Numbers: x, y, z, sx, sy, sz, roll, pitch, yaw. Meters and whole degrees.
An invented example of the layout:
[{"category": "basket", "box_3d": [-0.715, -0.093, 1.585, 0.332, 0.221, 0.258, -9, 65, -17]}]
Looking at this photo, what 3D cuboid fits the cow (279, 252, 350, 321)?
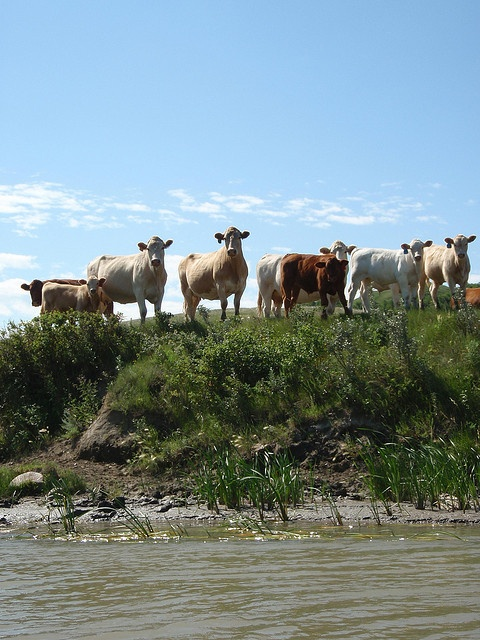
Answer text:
[{"category": "cow", "box_3d": [1.508, -0.738, 21.259, 1.115, 1.084, 2.932, -11, 9, -10]}]
